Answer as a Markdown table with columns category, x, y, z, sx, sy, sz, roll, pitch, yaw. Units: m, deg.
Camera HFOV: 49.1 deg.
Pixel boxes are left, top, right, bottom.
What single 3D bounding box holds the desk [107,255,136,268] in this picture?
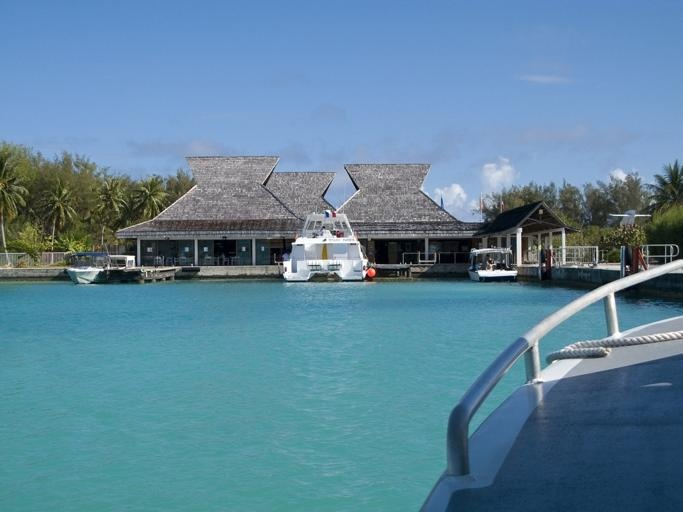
| category | x | y | z | sx | sy | sz | roll | pitch | yaw |
| --- | --- | --- | --- | --- | --- | --- | --- | --- | --- |
| desk | -12.644 | 0.363 | 43.240 | 1.177 | 0.791 | 2.387 | -5 | -1 | 18 |

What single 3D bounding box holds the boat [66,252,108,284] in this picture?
| category | x | y | z | sx | sy | sz | roll | pitch | yaw |
| --- | --- | --- | --- | --- | --- | --- | --- | --- | --- |
| boat | -14.594 | 0.740 | 42.918 | 2.098 | 1.808 | 2.990 | -4 | -2 | -19 |
